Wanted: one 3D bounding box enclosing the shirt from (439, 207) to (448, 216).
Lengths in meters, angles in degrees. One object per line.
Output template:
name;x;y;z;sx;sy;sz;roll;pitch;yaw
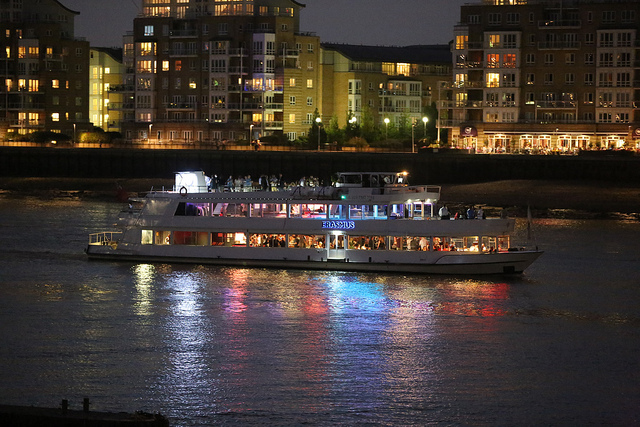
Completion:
shirt;9.944;-0.021;111.527;0.871;0.801;0.495;0;-2;3

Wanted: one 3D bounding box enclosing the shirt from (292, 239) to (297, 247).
shirt;-1.907;2.551;112.784;0.329;0.615;0.107;3;3;-1

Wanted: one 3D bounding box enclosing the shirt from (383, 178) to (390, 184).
shirt;5.491;-2.555;112.832;0.471;0.463;0.434;3;3;2

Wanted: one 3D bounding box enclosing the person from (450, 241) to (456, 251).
person;10.711;2.775;111.357;0.457;0.717;0.134;2;3;-14
